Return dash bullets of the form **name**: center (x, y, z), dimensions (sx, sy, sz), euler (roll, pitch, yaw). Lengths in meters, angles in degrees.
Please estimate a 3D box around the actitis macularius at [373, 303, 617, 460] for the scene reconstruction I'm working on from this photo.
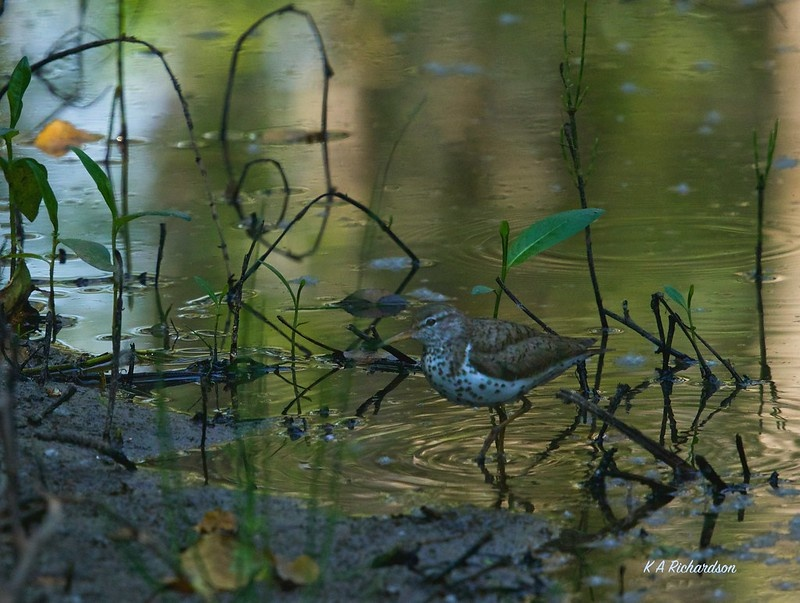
- **actitis macularius**: center (0.444, 0.340, 4.669), dimensions (1.233, 0.562, 0.474), euler (-5, 4, -33)
